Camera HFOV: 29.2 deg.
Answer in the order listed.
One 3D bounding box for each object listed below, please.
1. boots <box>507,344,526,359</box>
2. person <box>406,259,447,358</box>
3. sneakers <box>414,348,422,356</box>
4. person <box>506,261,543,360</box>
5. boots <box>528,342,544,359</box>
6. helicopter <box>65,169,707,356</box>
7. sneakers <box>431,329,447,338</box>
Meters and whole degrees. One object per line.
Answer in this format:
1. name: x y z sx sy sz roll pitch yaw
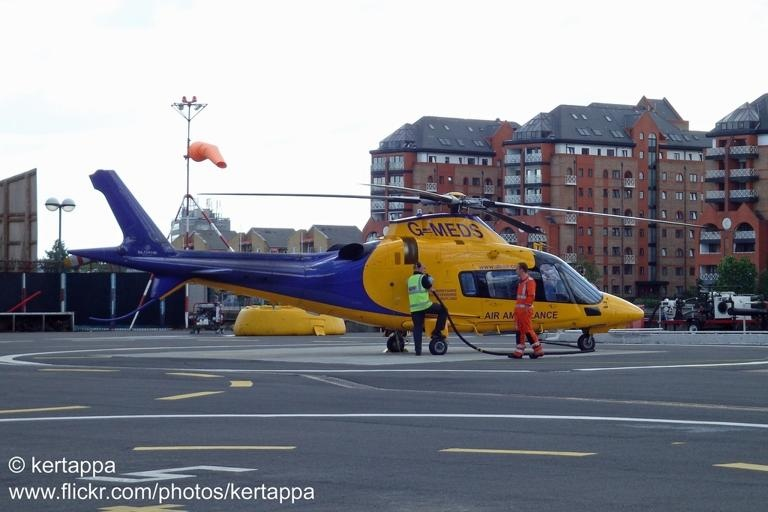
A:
1. boots: 3.023 2.196 33.593 0.366 0.327 0.670 -1 -5 4
2. person: 0.958 1.250 34.614 0.850 2.178 0.995 -3 -7 19
3. sneakers: 0.775 2.269 34.518 0.188 0.147 0.126 1 5 2
4. person: 3.254 1.251 33.766 0.722 2.234 0.782 0 -7 -2
5. boots: 3.479 2.171 33.612 0.278 0.377 0.531 -1 -6 5
6. helicopter: 0.012 0.307 35.940 14.990 4.029 11.641 0 1 -18
7. sneakers: 1.347 1.844 34.845 0.500 0.183 0.150 -4 5 4
